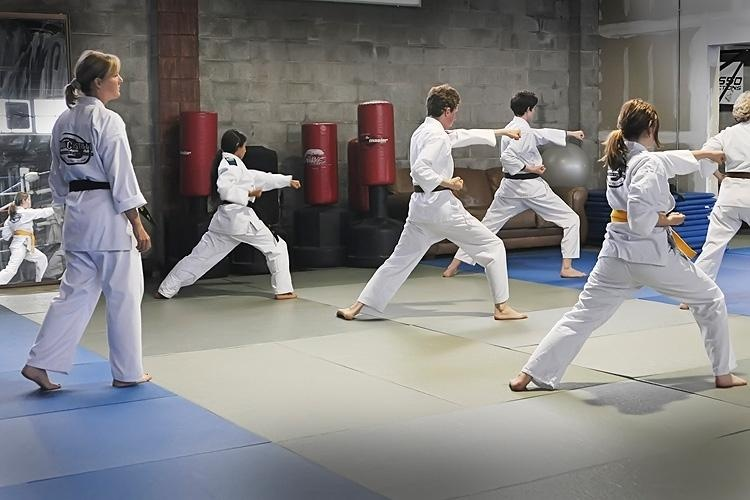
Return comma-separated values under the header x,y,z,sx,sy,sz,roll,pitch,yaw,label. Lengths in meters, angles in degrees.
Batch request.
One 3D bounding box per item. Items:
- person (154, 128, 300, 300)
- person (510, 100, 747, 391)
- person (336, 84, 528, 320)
x,y,z,sx,sy,sz,roll,pitch,yaw,label
-1.518,-0.369,5.995,1.308,1.738,0.426,0,11,3,person
1.434,-0.019,3.354,1.118,1.694,0.430,0,11,5,person
0.538,-0.397,4.957,1.481,2.036,0.626,-1,11,-3,person
